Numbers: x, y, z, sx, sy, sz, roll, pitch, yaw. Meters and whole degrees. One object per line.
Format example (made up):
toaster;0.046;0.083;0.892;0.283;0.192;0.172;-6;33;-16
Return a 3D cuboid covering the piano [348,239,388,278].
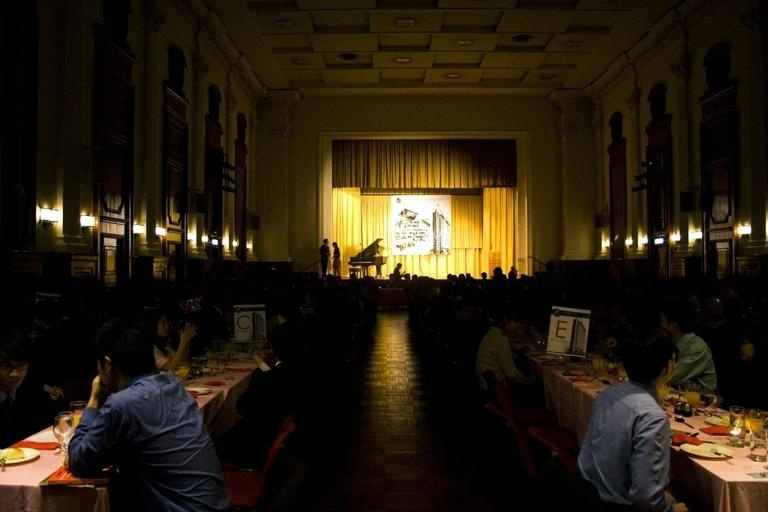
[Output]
piano;-0.572;0.095;21.525;1.317;1.516;1.078;-2;2;1
